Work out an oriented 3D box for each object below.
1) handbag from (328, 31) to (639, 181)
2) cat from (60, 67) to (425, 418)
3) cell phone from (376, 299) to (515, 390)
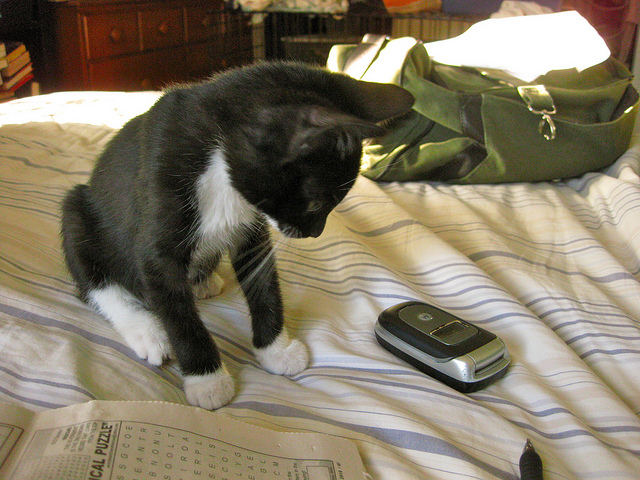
[{"bbox_3d":[0.468,-0.292,1.616,0.751,0.249,0.539,-2,15,-15],"label":"handbag"},{"bbox_3d":[-0.168,-0.066,1.046,0.501,0.457,0.584,23,42,31],"label":"cat"},{"bbox_3d":[0.197,0.161,0.991,0.220,0.057,0.118,22,35,31],"label":"cell phone"}]
